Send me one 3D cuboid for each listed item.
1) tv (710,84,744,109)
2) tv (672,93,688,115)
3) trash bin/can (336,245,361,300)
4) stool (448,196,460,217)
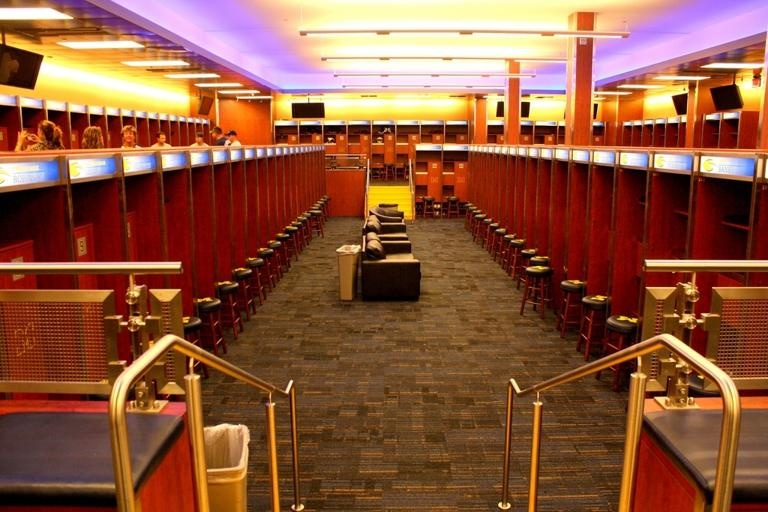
[{"bbox_3d":[7.143,-3.248,11.894,0.182,0.629,0.725,-15,10,-21],"label":"tv"},{"bbox_3d":[8.986,-4.543,17.268,0.162,0.574,0.651,-8,11,-25],"label":"tv"},{"bbox_3d":[-0.584,0.297,9.420,0.484,0.853,0.798,1,11,3],"label":"trash bin/can"},{"bbox_3d":[2.375,-1.629,19.564,0.466,0.684,1.028,1,6,6],"label":"stool"}]
